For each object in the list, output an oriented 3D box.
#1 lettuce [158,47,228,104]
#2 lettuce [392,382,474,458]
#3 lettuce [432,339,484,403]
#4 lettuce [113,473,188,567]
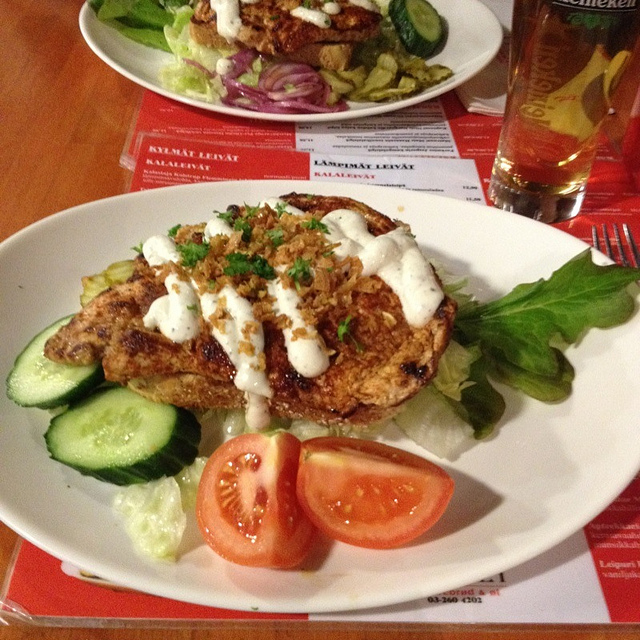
[{"bbox_3d":[-0.956,-1.779,4.386,0.498,0.186,0.441,-2,38,-6],"label":"lettuce"},{"bbox_3d":[0.456,0.402,2.421,0.242,0.078,0.270,-44,56,-1],"label":"lettuce"},{"bbox_3d":[0.599,0.229,2.587,0.238,0.096,0.243,19,75,-9],"label":"lettuce"},{"bbox_3d":[-0.627,0.748,2.157,0.249,0.181,0.367,-16,65,-9],"label":"lettuce"}]
